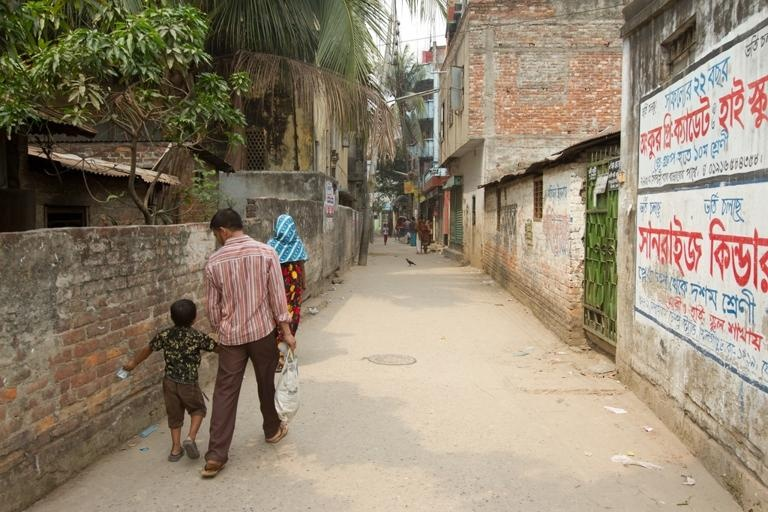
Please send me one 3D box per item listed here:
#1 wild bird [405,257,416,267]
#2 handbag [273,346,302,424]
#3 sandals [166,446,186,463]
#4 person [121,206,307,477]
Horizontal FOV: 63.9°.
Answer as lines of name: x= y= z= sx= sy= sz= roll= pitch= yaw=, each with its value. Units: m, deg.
wild bird: x=1.042 y=0.276 z=24.264 sx=0.168 sy=0.339 sz=0.486 roll=-7 pitch=5 yaw=30
handbag: x=-1.028 y=1.259 z=6.623 sx=0.278 sy=0.917 sz=0.224 roll=-36 pitch=60 yaw=-28
sandals: x=-2.117 y=2.038 z=6.254 sx=0.068 sy=0.099 sz=0.219 roll=2 pitch=-5 yaw=3
person: x=-1.439 y=0.812 z=6.290 sx=0.996 sy=2.541 sz=0.690 roll=-4 pitch=9 yaw=-29
